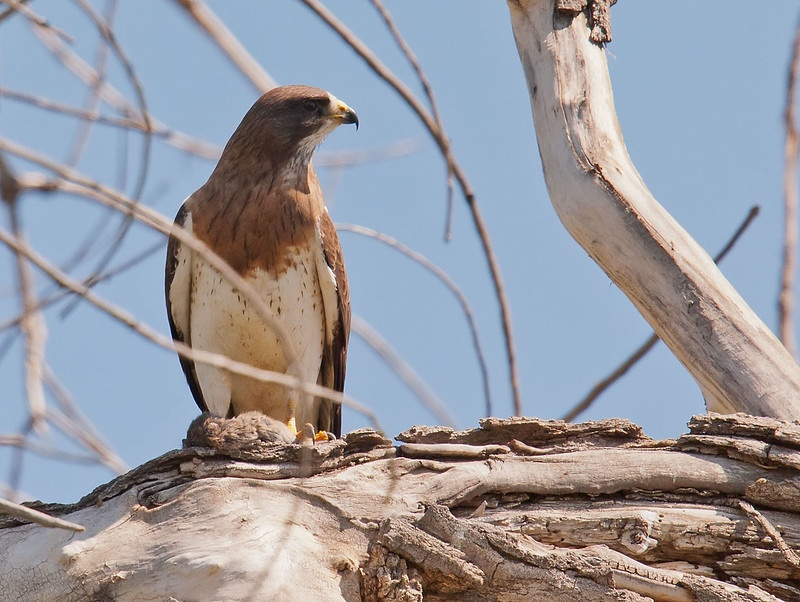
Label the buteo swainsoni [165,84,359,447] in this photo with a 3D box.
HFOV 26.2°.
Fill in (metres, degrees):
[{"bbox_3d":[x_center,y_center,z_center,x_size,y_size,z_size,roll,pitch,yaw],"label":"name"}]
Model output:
[{"bbox_3d":[-0.827,-0.275,8.930,0.843,1.925,2.113,-1,-77,-16],"label":"buteo swainsoni"}]
